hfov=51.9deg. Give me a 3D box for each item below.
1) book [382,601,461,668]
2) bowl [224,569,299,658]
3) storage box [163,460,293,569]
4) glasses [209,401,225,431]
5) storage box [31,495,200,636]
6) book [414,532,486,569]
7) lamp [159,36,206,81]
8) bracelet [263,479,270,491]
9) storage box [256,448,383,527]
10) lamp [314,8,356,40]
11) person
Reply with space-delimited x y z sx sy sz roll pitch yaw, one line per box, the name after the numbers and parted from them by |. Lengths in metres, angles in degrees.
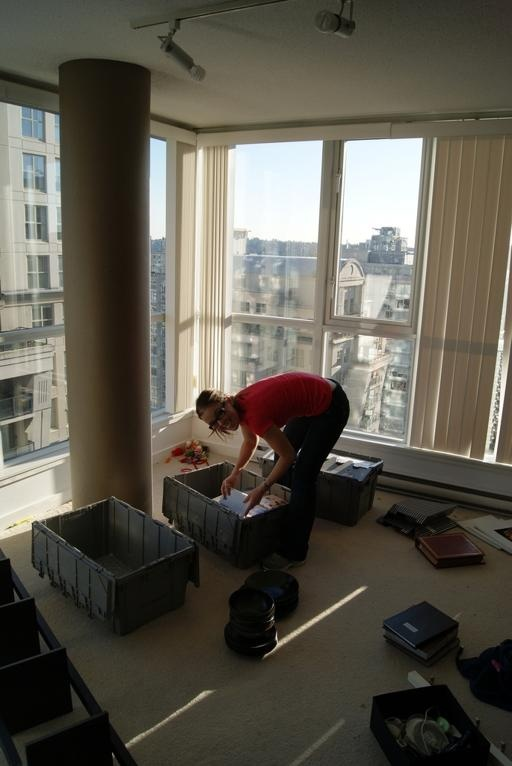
0.716 1.103 2.359 0.297 0.150 0.274 -3 10 -30 | book
0.015 1.022 2.380 0.195 0.117 0.338 0 14 4 | bowl
-0.215 0.804 3.181 0.448 0.322 0.692 -11 20 -40 | storage box
-0.181 0.149 2.479 0.032 0.108 0.114 13 37 -26 | glasses
-0.742 0.879 2.613 0.522 0.350 0.762 -8 15 -42 | storage box
1.187 1.015 3.200 0.360 0.096 0.281 0 9 -10 | book
-0.335 -1.506 2.415 0.091 0.063 0.315 -40 5 23 | lamp
0.061 0.510 2.650 0.035 0.047 0.049 -8 -17 4 | bracelet
0.524 0.663 3.746 0.637 0.394 0.485 7 11 33 | storage box
0.269 -1.246 1.812 0.111 0.117 0.151 2 8 -1 | lamp
0.108 0.508 2.734 0.364 1.100 0.857 7 10 37 | person
